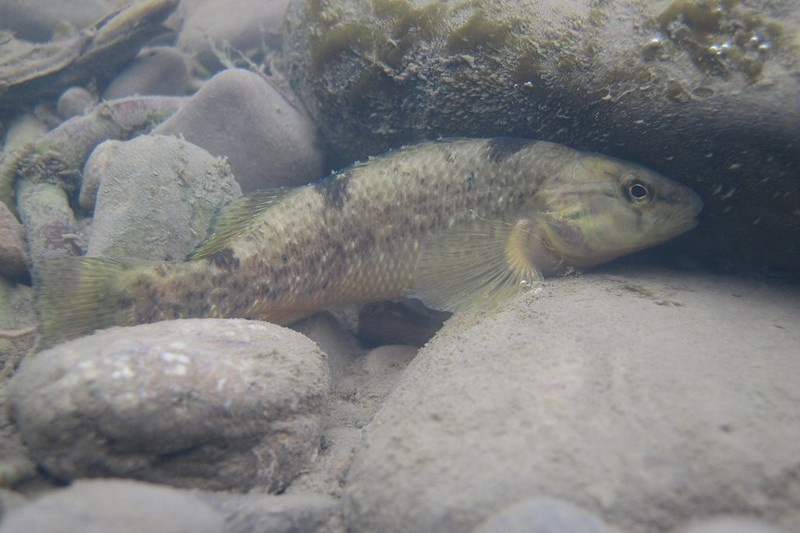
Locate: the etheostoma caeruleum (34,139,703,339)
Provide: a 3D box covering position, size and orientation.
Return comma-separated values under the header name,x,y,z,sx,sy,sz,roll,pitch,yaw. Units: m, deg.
name,x,y,z,sx,sy,sz,roll,pitch,yaw
etheostoma caeruleum,-0.054,-0.076,4.109,2.656,0.694,0.734,-11,22,-11
